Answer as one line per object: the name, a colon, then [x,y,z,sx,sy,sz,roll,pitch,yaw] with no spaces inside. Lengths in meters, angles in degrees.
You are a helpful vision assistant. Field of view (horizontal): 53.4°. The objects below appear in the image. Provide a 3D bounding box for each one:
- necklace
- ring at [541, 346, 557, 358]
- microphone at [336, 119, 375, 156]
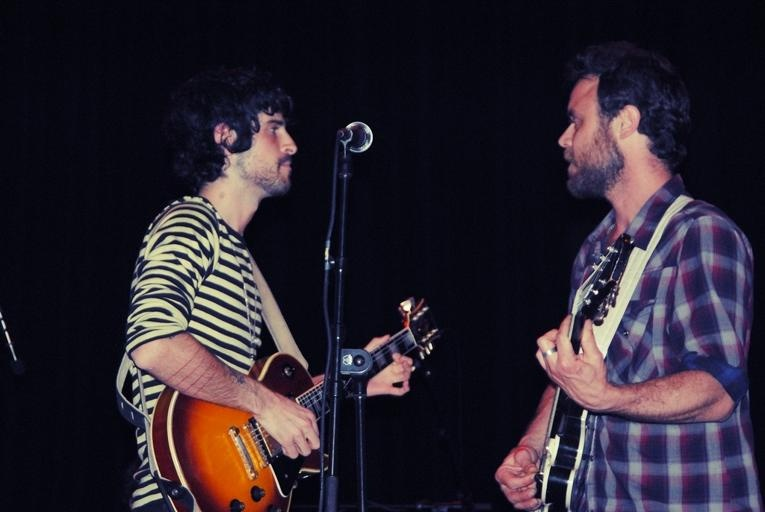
necklace: [-0.891,0.302,4.909,0.109,0.799,0.322,-13,-28,11]
ring: [0.948,0.548,4.317,0.058,0.016,0.060,-34,3,2]
microphone: [-0.176,-0.695,4.497,0.202,0.149,0.145,-9,-4,-9]
